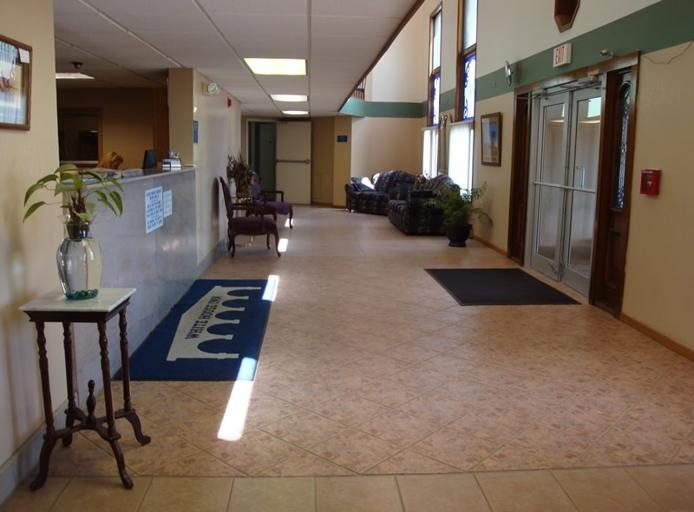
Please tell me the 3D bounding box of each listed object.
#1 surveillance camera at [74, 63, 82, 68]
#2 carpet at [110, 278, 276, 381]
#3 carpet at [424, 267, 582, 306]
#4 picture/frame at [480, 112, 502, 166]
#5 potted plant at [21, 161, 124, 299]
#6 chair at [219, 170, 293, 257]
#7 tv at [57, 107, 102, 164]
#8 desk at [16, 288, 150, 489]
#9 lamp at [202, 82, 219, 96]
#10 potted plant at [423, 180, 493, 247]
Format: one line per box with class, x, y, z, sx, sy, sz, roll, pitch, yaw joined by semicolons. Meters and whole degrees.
surveillance camera;-3.589;-2.554;6.261;0.056;0.042;0.056;2;9;6
carpet;-1.541;0.598;5.964;1.286;0.082;3.946;-8;5;-10
carpet;1.920;0.375;6.148;1.451;0.037;1.742;-2;13;-5
picture/frame;2.479;-2.013;8.156;0.069;0.919;0.928;3;14;38
potted plant;-1.448;-0.101;2.538;0.465;0.655;0.479;-2;0;18
chair;-1.512;-0.781;8.522;1.329;1.910;1.238;-1;9;-9
tv;-4.962;-2.224;8.608;0.894;0.929;0.318;3;13;15
desk;-1.431;0.703;2.594;0.632;0.919;0.666;2;6;31
lamp;-2.003;-2.475;6.879;0.219;0.213;0.356;-3;13;-13
potted plant;2.032;-0.787;9.101;1.147;1.205;1.100;-1;2;-24
